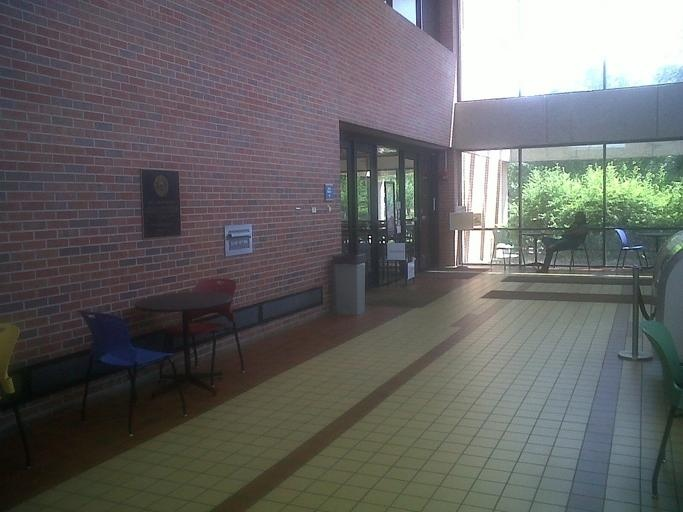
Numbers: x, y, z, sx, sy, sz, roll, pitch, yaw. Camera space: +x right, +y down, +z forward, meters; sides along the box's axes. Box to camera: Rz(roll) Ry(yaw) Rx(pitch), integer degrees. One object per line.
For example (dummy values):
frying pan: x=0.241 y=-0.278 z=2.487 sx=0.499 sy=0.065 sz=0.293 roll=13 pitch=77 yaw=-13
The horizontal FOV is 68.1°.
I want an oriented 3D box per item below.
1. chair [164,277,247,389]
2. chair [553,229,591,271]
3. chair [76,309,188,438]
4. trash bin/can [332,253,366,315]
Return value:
chair: x=-1.470 y=0.774 z=5.864 sx=0.876 sy=1.541 sz=1.048 roll=0 pitch=-2 yaw=18
chair: x=6.081 y=-0.154 z=13.260 sx=0.953 sy=1.379 sz=1.096 roll=1 pitch=2 yaw=21
chair: x=-1.964 y=0.950 z=4.701 sx=0.884 sy=1.020 sz=1.092 roll=-4 pitch=7 yaw=-24
trash bin/can: x=0.148 y=0.486 z=8.478 sx=0.490 sy=0.991 sz=0.299 roll=-2 pitch=7 yaw=-6
